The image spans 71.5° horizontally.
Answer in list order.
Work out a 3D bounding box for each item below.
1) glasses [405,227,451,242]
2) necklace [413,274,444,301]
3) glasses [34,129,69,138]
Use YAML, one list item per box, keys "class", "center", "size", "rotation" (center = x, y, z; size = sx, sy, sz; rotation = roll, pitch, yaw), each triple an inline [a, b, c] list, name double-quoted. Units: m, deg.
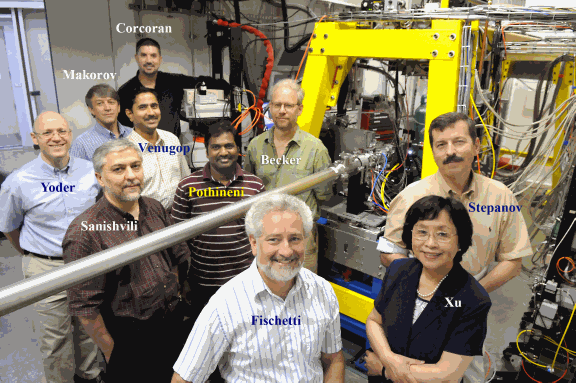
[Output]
- class: "glasses"
  center: [0.746, 0.235, 2.111]
  size: [0.216, 0.066, 0.046]
  rotation: [6, 18, 15]
- class: "necklace"
  center: [0.775, 0.525, 2.166]
  size: [0.023, 0.159, 0.120]
  rotation: [31, 24, -27]
- class: "glasses"
  center: [-1.628, -0.396, 2.758]
  size: [0.185, 0.054, 0.058]
  rotation: [-11, 21, -36]
